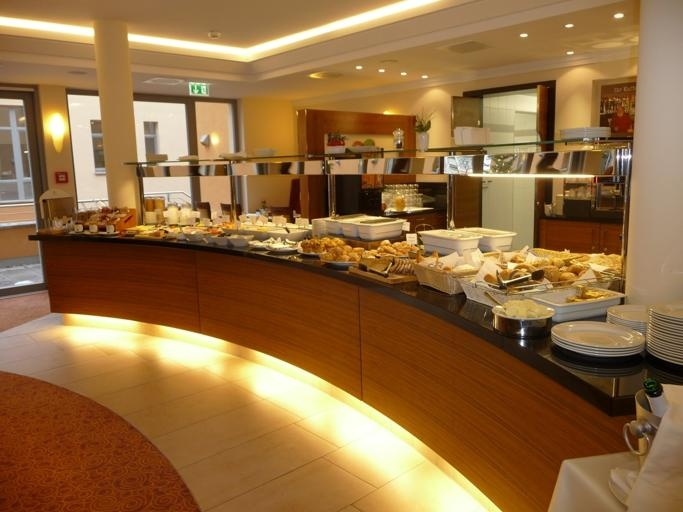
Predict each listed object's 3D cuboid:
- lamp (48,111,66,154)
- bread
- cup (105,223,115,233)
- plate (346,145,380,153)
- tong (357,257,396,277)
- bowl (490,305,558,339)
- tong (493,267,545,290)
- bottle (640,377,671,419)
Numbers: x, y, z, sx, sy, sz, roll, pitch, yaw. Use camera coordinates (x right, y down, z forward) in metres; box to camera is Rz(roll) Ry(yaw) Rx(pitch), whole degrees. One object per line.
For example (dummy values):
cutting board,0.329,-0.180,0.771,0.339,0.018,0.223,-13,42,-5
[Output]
lamp,-4.063,-1.762,6.733,0.175,0.540,0.234,-4,13,-13
bread,0.662,0.070,2.628,0.734,0.200,1.689,-10,13,-43
cup,-2.210,-0.265,4.480,0.099,0.072,0.097,0,14,0
plate,0.155,-0.759,3.361,0.203,0.030,0.170,2,9,16
tong,0.200,0.059,2.758,0.133,0.054,0.157,-11,16,-32
bowl,0.737,0.267,1.923,0.257,0.064,0.214,0,6,4
tong,0.804,0.093,2.151,0.184,0.056,0.103,-9,14,-4
bottle,0.743,0.333,1.117,0.042,0.075,0.081,3,12,19
